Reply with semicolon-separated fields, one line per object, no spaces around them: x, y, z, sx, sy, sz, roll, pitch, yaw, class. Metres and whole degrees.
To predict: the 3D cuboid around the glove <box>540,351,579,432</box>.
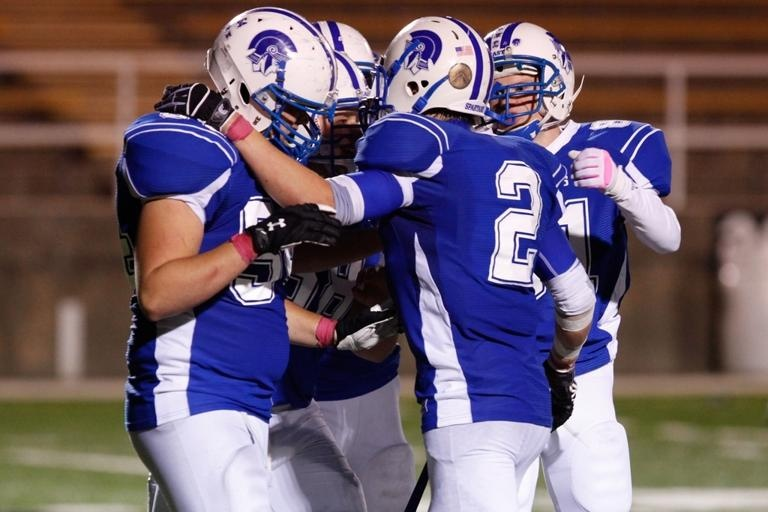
1.439;1.111;11.388;0.441;0.426;0.520;6;24;18;glove

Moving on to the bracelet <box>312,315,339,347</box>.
-0.496;0.601;11.385;0.191;0.202;0.174;3;24;-16;bracelet

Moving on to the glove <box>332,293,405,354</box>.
-0.140;0.561;11.337;0.446;0.211;0.500;-10;-2;-14;glove

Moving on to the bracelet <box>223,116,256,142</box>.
-1.149;-0.988;10.861;0.192;0.164;0.216;-20;-1;-16;bracelet

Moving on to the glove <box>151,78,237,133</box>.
-1.456;-1.174;10.857;0.598;0.219;0.339;18;-8;-2;glove

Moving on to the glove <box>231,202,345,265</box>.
-0.764;-0.204;10.765;0.754;0.426;0.205;-20;-37;-6;glove
